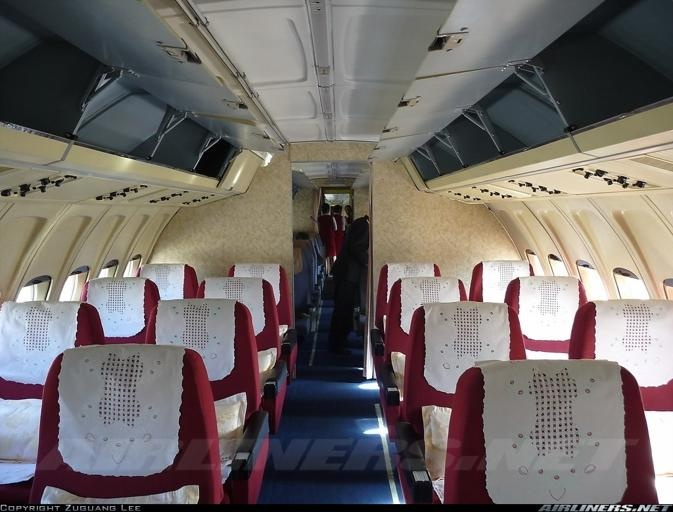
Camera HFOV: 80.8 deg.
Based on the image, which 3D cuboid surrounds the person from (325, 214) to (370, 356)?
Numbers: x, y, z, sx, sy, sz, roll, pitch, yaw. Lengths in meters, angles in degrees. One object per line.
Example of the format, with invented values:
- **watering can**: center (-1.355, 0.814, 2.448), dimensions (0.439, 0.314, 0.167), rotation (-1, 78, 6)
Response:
- **person**: center (0.203, 0.507, 6.385), dimensions (0.577, 2.277, 0.277), rotation (0, 5, -5)
